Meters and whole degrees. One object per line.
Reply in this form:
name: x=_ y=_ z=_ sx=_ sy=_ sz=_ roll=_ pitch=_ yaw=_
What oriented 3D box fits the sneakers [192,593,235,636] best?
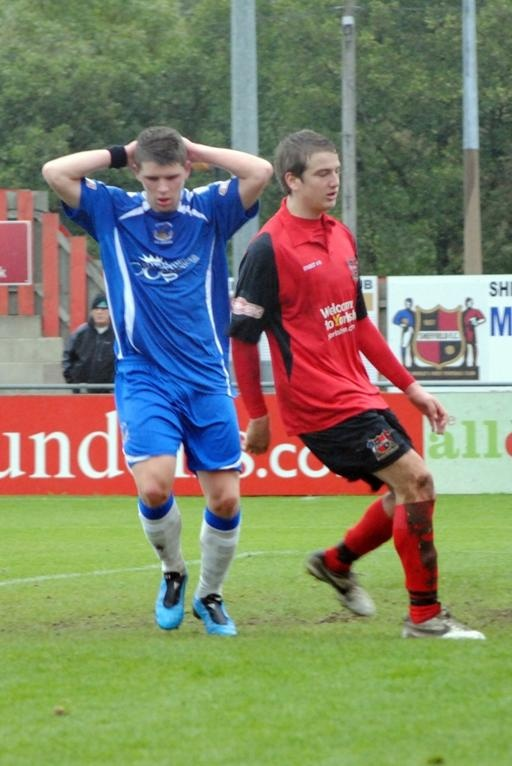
sneakers: x=-0.156 y=0.839 z=4.545 sx=0.081 sy=0.086 sz=0.222 roll=-7 pitch=12 yaw=-24

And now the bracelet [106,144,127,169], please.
bracelet: x=-0.501 y=-0.818 z=4.539 sx=0.080 sy=0.090 sz=0.037 roll=1 pitch=-5 yaw=5

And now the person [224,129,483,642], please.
person: x=0.314 y=-0.032 z=4.415 sx=0.816 sy=1.762 sz=0.541 roll=-1 pitch=1 yaw=17

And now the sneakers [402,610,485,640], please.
sneakers: x=0.613 y=0.801 z=4.158 sx=0.301 sy=0.101 sz=0.094 roll=-5 pitch=-8 yaw=20
